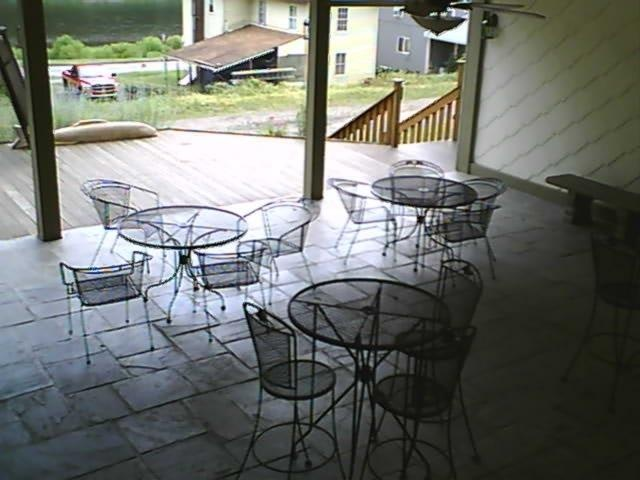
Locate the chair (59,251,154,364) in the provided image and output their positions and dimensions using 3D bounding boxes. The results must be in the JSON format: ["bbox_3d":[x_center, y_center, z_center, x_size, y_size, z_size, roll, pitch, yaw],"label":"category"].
[{"bbox_3d":[-1.980,0.679,5.204,0.802,0.905,0.669,-7,42,-25],"label":"chair"}]

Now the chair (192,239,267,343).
[{"bbox_3d":[-0.872,0.514,5.341,0.809,0.867,0.638,-8,44,-17],"label":"chair"}]

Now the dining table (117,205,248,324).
[{"bbox_3d":[-1.570,0.230,6.332,1.560,0.957,1.398,13,29,16],"label":"dining table"}]

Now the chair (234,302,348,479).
[{"bbox_3d":[-0.183,0.978,3.889,0.732,1.145,0.801,1,27,-2],"label":"chair"}]

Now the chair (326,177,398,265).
[{"bbox_3d":[0.544,-0.195,7.099,1.074,1.001,0.824,-9,34,-10],"label":"chair"}]

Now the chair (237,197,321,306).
[{"bbox_3d":[-0.445,0.155,6.243,0.912,0.984,0.915,-16,38,-33],"label":"chair"}]

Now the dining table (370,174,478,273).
[{"bbox_3d":[1.185,-0.143,6.909,1.402,0.864,1.256,-10,32,-22],"label":"dining table"}]

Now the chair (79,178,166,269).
[{"bbox_3d":[-2.405,-0.169,6.724,1.083,1.075,0.899,-4,32,-11],"label":"chair"}]

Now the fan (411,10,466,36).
[{"bbox_3d":[0.977,-1.791,4.692,0.291,0.149,0.310,-15,32,-28],"label":"fan"}]
